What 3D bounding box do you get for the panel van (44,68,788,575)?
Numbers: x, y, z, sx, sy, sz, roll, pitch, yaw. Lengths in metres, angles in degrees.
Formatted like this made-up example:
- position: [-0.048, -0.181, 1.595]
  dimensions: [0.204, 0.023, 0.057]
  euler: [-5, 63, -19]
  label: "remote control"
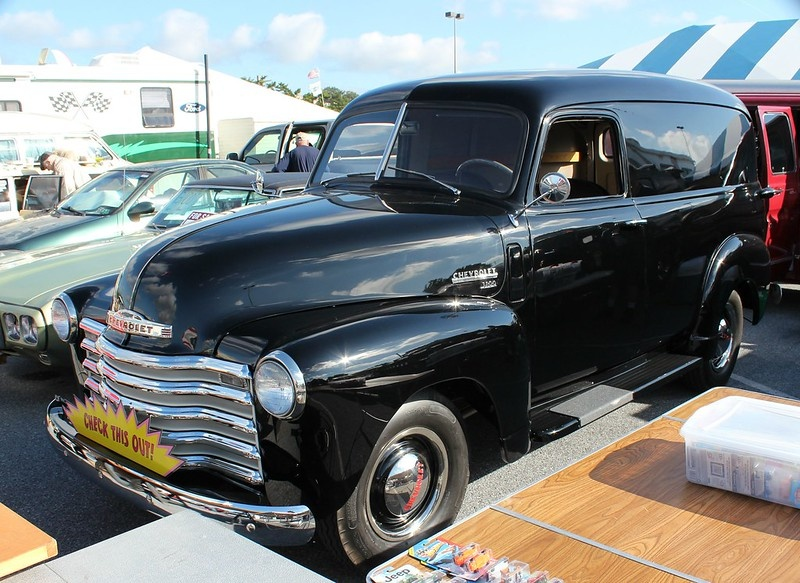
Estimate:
- position: [0.676, -0.145, 4.561]
  dimensions: [5.412, 1.919, 2.781]
  euler: [-7, 8, -35]
  label: "panel van"
